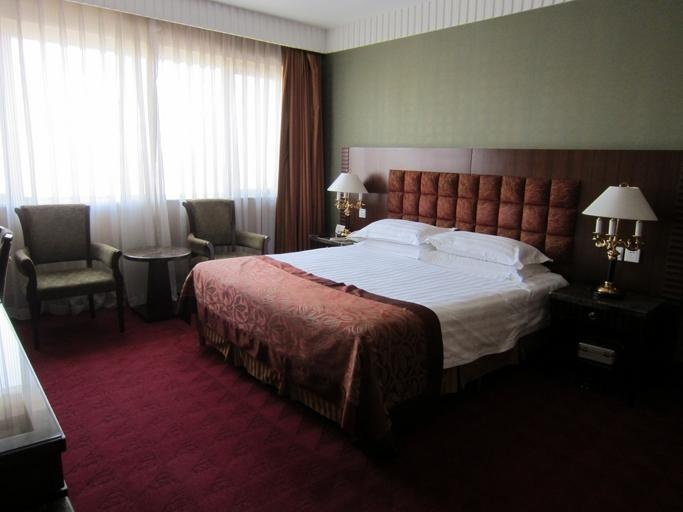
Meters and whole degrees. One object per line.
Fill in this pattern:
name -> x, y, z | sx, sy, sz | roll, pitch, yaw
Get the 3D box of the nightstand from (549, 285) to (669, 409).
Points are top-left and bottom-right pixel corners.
nightstand -> 2.076, 0.568, 3.989 | 0.759, 0.979, 0.957 | -6, 12, -34

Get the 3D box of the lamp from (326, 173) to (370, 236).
lamp -> 0.071, -0.662, 5.860 | 0.523, 0.798, 0.539 | 5, 8, 29

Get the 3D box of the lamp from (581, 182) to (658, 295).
lamp -> 2.187, -0.133, 3.787 | 0.488, 0.848, 0.474 | 9, 17, 33

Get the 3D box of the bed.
bed -> 0.239, 0.396, 4.149 | 2.316, 1.022, 2.310 | -12, 18, -38
